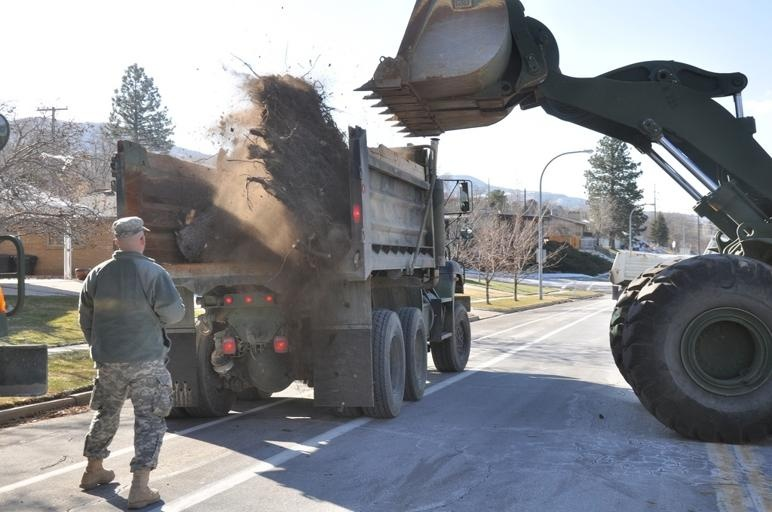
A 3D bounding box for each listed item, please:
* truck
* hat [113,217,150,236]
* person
[{"bbox_3d":[-0.993,0.364,13.376,4.210,4.824,7.998,-2,0,20],"label":"truck"},{"bbox_3d":[-2.949,-0.351,8.034,0.236,0.168,0.349,4,5,43],"label":"hat"},{"bbox_3d":[-2.935,1.155,7.882,1.112,3.178,0.724,1,3,19],"label":"person"}]
